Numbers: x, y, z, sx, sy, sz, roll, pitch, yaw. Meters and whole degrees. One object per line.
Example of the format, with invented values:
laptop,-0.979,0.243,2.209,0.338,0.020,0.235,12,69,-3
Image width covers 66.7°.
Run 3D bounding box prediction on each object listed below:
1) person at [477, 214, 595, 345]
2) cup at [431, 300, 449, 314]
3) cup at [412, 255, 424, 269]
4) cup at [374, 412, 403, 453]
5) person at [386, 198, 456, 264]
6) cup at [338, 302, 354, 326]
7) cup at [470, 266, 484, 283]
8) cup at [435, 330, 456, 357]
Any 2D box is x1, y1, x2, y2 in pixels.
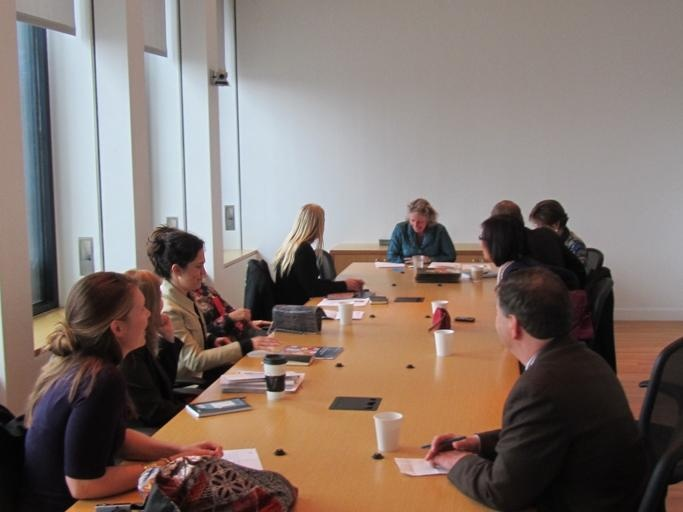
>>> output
person,1.317,0.039,3.833,0.963,1.123,0.761,4,21,27
cup,0.613,0.303,3.238,0.100,0.117,0.109,1,-2,0
cup,0.703,0.052,4.808,0.089,0.100,0.135,-1,-3,-3
cup,0.152,0.589,1.724,0.106,0.121,0.114,0,1,0
person,0.875,-0.294,5.698,0.921,0.896,0.611,3,15,18
cup,0.023,0.354,3.146,0.094,0.128,0.121,0,4,3
cup,1.158,0.160,4.506,0.108,0.127,0.111,0,0,0
cup,0.499,0.438,2.603,0.110,0.125,0.118,0,-1,0
